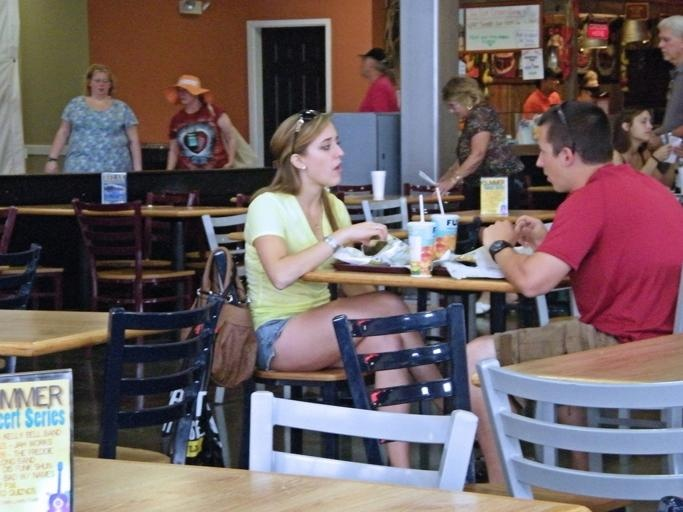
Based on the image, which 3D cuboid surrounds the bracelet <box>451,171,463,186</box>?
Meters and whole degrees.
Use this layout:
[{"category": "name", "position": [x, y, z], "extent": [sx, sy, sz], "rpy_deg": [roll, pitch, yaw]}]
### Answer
[{"category": "bracelet", "position": [0.893, -0.598, 5.512], "extent": [0.094, 0.035, 0.119], "rpy_deg": [1, 25, 14]}]

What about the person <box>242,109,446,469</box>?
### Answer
[{"category": "person", "position": [-0.087, -0.083, 2.647], "extent": [0.538, 0.946, 0.618], "rpy_deg": [-4, 3, -10]}]

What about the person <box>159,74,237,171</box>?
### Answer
[{"category": "person", "position": [-1.359, -1.275, 6.881], "extent": [0.519, 0.886, 0.603], "rpy_deg": [-1, 4, 36]}]

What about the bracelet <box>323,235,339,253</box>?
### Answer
[{"category": "bracelet", "position": [-0.038, -0.041, 2.499], "extent": [0.050, 0.046, 0.045], "rpy_deg": [42, 26, 20]}]

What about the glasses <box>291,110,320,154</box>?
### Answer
[{"category": "glasses", "position": [-0.150, -0.480, 2.766], "extent": [0.053, 0.146, 0.155], "rpy_deg": [14, 15, 11]}]

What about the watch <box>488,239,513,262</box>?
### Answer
[{"category": "watch", "position": [0.525, -0.026, 2.393], "extent": [0.096, 0.054, 0.079], "rpy_deg": [-18, -33, 1]}]

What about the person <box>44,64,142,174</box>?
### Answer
[{"category": "person", "position": [-2.141, -1.146, 6.117], "extent": [0.745, 0.893, 0.494], "rpy_deg": [-4, 3, -11]}]

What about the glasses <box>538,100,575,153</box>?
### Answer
[{"category": "glasses", "position": [0.734, -0.432, 2.414], "extent": [0.130, 0.149, 0.147], "rpy_deg": [0, -1, -42]}]

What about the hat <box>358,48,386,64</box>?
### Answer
[{"category": "hat", "position": [0.298, -2.243, 7.959], "extent": [0.361, 0.157, 0.241], "rpy_deg": [17, 13, 4]}]

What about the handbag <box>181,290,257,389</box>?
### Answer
[{"category": "handbag", "position": [-0.363, 0.295, 2.390], "extent": [0.160, 0.278, 0.130], "rpy_deg": [-4, 3, -9]}]

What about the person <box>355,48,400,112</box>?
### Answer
[{"category": "person", "position": [0.414, -1.971, 8.078], "extent": [0.448, 0.848, 1.077], "rpy_deg": [-3, 3, 5]}]

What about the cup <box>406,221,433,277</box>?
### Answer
[{"category": "cup", "position": [0.262, -0.023, 2.340], "extent": [0.083, 0.180, 0.154], "rpy_deg": [-3, 3, 5]}]

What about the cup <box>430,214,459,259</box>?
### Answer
[{"category": "cup", "position": [0.360, -0.070, 2.469], "extent": [0.084, 0.150, 0.294], "rpy_deg": [-3, 3, 8]}]

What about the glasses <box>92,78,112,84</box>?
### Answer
[{"category": "glasses", "position": [-1.989, -1.451, 5.929], "extent": [0.147, 0.048, 0.071], "rpy_deg": [-5, 4, -37]}]
